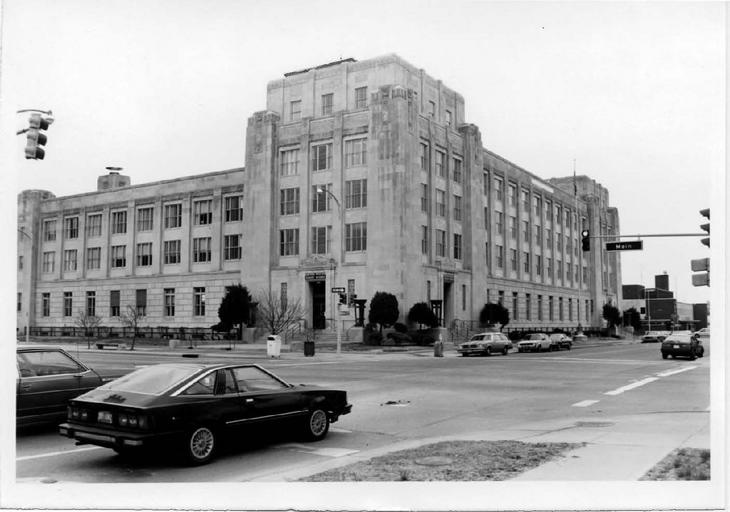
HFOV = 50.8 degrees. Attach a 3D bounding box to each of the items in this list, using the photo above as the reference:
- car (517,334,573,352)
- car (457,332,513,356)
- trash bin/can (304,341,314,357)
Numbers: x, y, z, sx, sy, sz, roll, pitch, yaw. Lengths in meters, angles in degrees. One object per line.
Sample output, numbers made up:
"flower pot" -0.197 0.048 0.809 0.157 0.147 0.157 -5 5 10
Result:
"car" 13.771 6.544 59.231 1.783 1.290 5.100 -10 -14 35
"car" 8.151 5.884 51.740 2.316 1.645 4.185 -7 -10 31
"trash bin/can" -3.401 5.643 47.596 0.715 1.122 0.786 -1 2 0
